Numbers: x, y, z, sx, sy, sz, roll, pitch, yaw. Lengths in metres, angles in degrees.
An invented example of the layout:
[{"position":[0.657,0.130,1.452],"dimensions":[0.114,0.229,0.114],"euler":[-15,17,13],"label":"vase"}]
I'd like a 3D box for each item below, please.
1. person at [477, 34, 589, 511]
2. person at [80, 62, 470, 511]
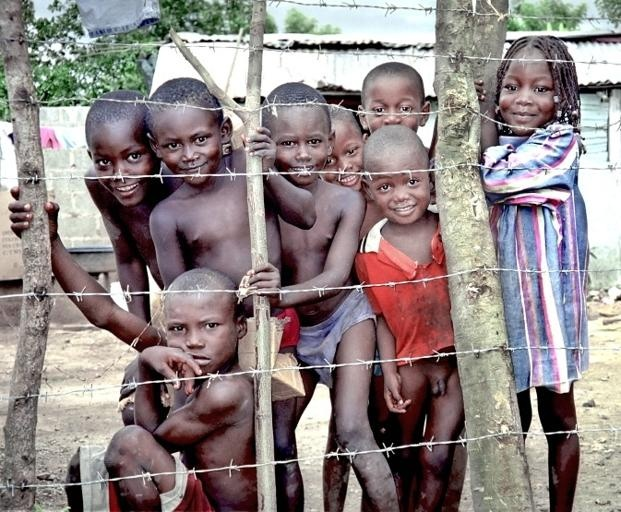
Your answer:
[{"position":[0.927,0.080,4.053],"dimensions":[0.447,2.048,0.630],"euler":[-2,2,15],"label":"person"},{"position":[-0.288,0.099,4.843],"dimensions":[1.527,2.160,0.855],"euler":[-2,1,5],"label":"person"}]
